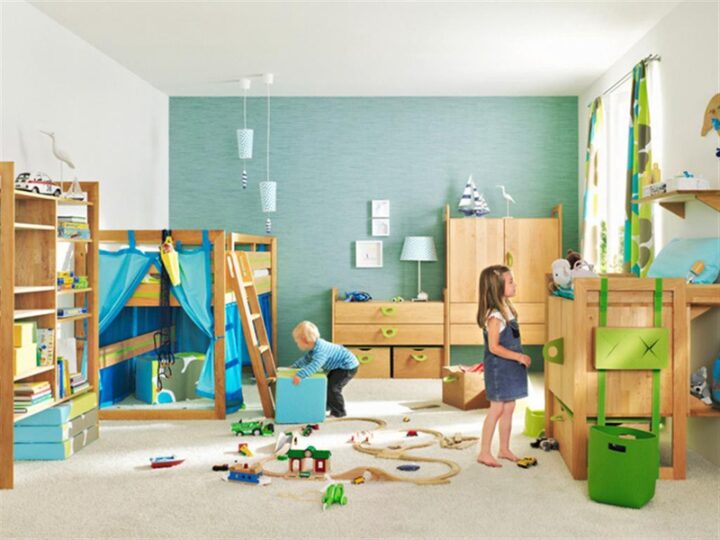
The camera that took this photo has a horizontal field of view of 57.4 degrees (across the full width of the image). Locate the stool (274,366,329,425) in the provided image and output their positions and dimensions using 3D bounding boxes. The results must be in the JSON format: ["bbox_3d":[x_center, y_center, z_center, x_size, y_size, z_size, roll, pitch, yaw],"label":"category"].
[{"bbox_3d":[-0.466,1.027,5.335,0.406,0.344,0.382,0,-1,0],"label":"stool"}]

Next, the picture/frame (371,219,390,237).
[{"bbox_3d":[0.228,-0.463,7.092,0.207,0.184,0.022,0,-2,-1],"label":"picture/frame"}]

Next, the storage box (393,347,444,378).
[{"bbox_3d":[0.600,0.939,6.720,0.524,0.299,0.146,0,12,3],"label":"storage box"}]

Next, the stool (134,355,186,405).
[{"bbox_3d":[-1.749,0.934,5.830,0.380,0.464,0.506,-4,-4,45],"label":"stool"}]

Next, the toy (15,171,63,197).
[{"bbox_3d":[-2.203,-0.593,4.516,0.160,0.109,0.260,5,6,23],"label":"toy"}]

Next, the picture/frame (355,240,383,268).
[{"bbox_3d":[0.107,-0.176,7.093,0.317,0.279,0.034,0,0,-1],"label":"picture/frame"}]

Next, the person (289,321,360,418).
[{"bbox_3d":[-0.317,0.828,5.471,0.639,0.763,0.409,3,-5,-9],"label":"person"}]

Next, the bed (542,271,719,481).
[{"bbox_3d":[1.938,0.621,4.921,1.046,1.290,1.476,0,-3,2],"label":"bed"}]

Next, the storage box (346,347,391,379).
[{"bbox_3d":[0.160,0.951,6.824,0.341,0.194,0.322,0,-1,-1],"label":"storage box"}]

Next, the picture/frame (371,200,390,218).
[{"bbox_3d":[0.228,-0.658,7.073,0.216,0.187,0.049,-1,1,1],"label":"picture/frame"}]

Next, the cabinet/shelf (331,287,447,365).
[{"bbox_3d":[0.313,0.746,6.734,1.251,0.668,0.458,0,-2,1],"label":"cabinet/shelf"}]

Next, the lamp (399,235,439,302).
[{"bbox_3d":[0.642,-0.020,7.073,0.461,0.680,0.441,-3,8,-3],"label":"lamp"}]

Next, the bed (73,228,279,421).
[{"bbox_3d":[-1.490,0.451,6.058,1.599,1.237,1.718,0,-1,-4],"label":"bed"}]

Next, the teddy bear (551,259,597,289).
[{"bbox_3d":[1.472,0.027,4.515,0.247,0.103,0.193,2,44,24],"label":"teddy bear"}]

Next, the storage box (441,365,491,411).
[{"bbox_3d":[0.872,0.975,5.655,0.395,0.352,0.378,-2,4,-23],"label":"storage box"}]
